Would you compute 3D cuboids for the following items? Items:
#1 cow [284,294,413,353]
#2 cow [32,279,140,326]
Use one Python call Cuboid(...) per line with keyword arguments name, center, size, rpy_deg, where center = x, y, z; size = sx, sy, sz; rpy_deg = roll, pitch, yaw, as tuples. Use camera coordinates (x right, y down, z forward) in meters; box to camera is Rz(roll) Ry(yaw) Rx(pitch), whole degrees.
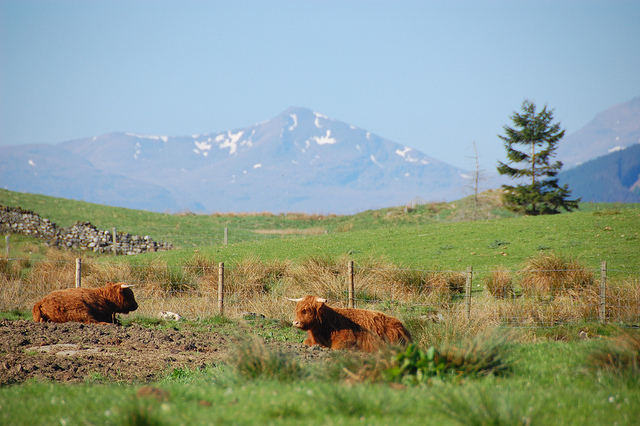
Cuboid(name="cow", center=(1.004, 3.955, 33.749), size=(3.307, 1.728, 2.183), rpy_deg=(4, -6, 1))
Cuboid(name="cow", center=(-8.685, 3.098, 35.586), size=(4.297, 2.015, 2.550), rpy_deg=(-5, -21, -2))
